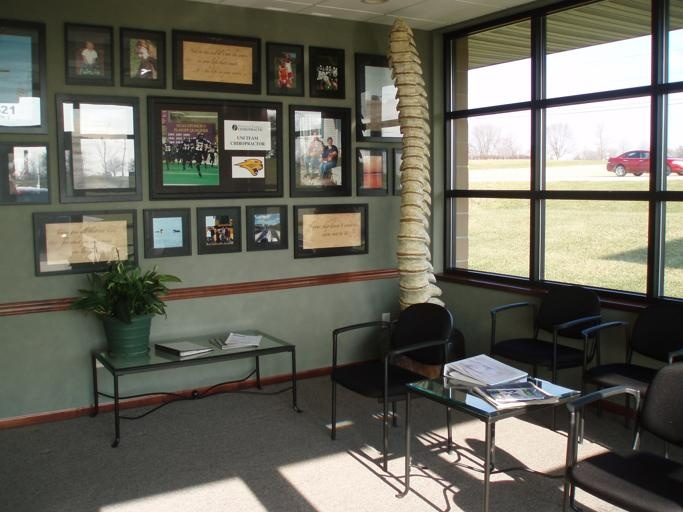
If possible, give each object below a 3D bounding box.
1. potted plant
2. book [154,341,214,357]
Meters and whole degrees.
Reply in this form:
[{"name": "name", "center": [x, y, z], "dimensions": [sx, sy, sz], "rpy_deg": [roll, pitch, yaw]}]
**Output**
[{"name": "potted plant", "center": [-1.624, 0.450, 4.152], "dimensions": [0.679, 0.707, 1.050], "rpy_deg": [-5, -5, 20]}, {"name": "book", "center": [-1.236, 0.719, 4.124], "dimensions": [0.191, 0.031, 0.188], "rpy_deg": [8, 9, 43]}]
